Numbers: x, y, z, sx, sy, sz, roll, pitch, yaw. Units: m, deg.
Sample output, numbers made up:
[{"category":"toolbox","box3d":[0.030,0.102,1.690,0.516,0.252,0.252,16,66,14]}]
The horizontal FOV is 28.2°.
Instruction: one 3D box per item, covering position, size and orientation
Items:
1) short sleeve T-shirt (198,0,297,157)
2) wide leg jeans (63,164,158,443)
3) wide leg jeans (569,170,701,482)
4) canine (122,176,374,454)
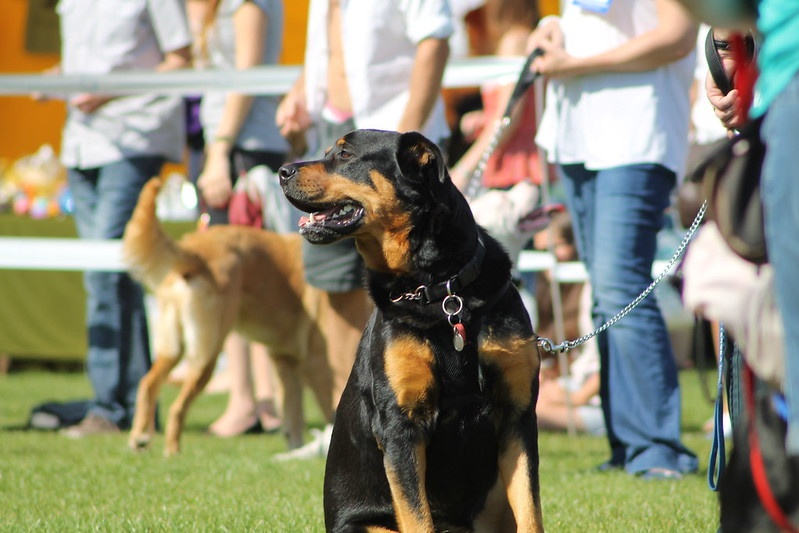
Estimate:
[{"category":"short sleeve T-shirt","box3d":[-1.283,-1.530,12.980,0.826,1.811,1.283,2,5,4]},{"category":"wide leg jeans","box3d":[-2.151,0.193,12.450,0.526,1.889,2.826,-8,13,-21]},{"category":"wide leg jeans","box3d":[1.591,0.222,11.375,0.610,2.499,0.789,-5,8,-15]},{"category":"canine","box3d":[-1.080,0.437,12.144,2.169,1.984,0.564,3,1,-39]}]
